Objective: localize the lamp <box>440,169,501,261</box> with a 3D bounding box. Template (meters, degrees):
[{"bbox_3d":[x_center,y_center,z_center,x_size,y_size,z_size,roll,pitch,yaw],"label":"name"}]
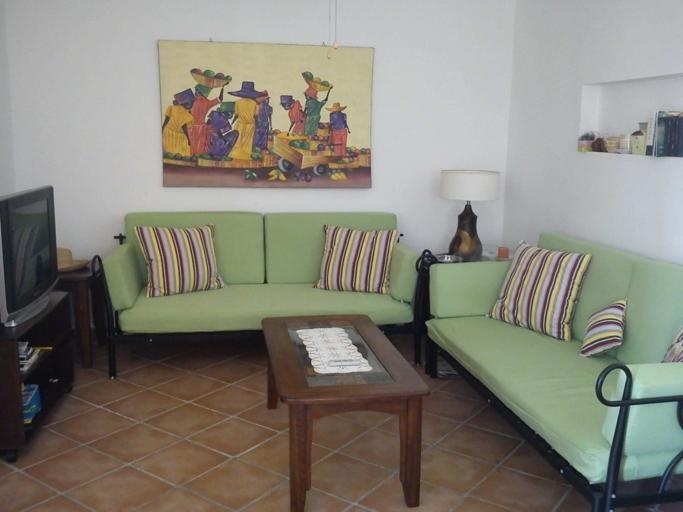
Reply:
[{"bbox_3d":[0.990,-0.285,4.363,0.465,0.688,0.458,2,-1,-23],"label":"lamp"}]

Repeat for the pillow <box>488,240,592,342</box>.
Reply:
[{"bbox_3d":[1.267,0.184,3.594,0.213,0.677,0.709,35,-23,-34],"label":"pillow"}]

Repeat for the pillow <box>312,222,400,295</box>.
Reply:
[{"bbox_3d":[0.118,0.064,4.408,0.557,0.507,0.163,7,-14,2],"label":"pillow"}]

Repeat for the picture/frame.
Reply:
[{"bbox_3d":[-0.675,-1.172,4.457,1.263,0.760,0.018,0,8,-11],"label":"picture/frame"}]

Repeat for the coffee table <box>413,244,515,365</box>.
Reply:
[{"bbox_3d":[0.934,0.385,3.903,0.590,0.757,0.562,-3,-21,12],"label":"coffee table"}]

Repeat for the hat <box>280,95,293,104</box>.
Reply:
[{"bbox_3d":[-0.452,-1.263,4.470,0.077,0.027,0.069,14,33,17],"label":"hat"}]
